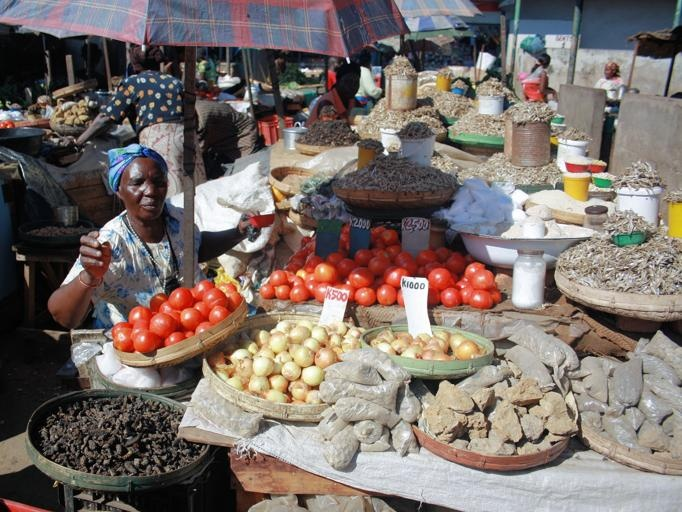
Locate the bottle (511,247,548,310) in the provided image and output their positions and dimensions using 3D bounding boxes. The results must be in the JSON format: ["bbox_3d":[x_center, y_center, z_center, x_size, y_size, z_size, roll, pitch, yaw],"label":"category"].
[{"bbox_3d":[1.249,0.150,3.390,0.204,0.374,0.207,-2,20,1],"label":"bottle"}]

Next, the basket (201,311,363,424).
[{"bbox_3d":[-0.367,0.617,2.858,0.727,0.173,0.651,10,17,29],"label":"basket"}]

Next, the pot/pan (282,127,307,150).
[{"bbox_3d":[-0.565,-1.435,6.337,0.386,0.293,0.326,1,10,1],"label":"pot/pan"}]

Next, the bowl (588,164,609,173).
[{"bbox_3d":[2.685,-0.921,5.364,0.121,0.089,0.104,7,20,24],"label":"bowl"}]

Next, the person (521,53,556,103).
[{"bbox_3d":[4.080,-3.680,10.536,0.740,1.031,1.434,4,18,16],"label":"person"}]

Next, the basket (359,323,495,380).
[{"bbox_3d":[0.521,0.557,2.963,0.669,0.179,0.566,-6,17,-18],"label":"basket"}]

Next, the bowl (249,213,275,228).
[{"bbox_3d":[-0.593,-0.279,3.949,0.158,0.061,0.173,-6,1,0],"label":"bowl"}]

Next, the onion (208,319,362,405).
[{"bbox_3d":[-0.309,0.533,2.948,0.631,0.158,0.531,-1,8,0],"label":"onion"}]

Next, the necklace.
[{"bbox_3d":[-1.274,0.035,3.459,0.361,0.456,0.505,-8,24,-13],"label":"necklace"}]
